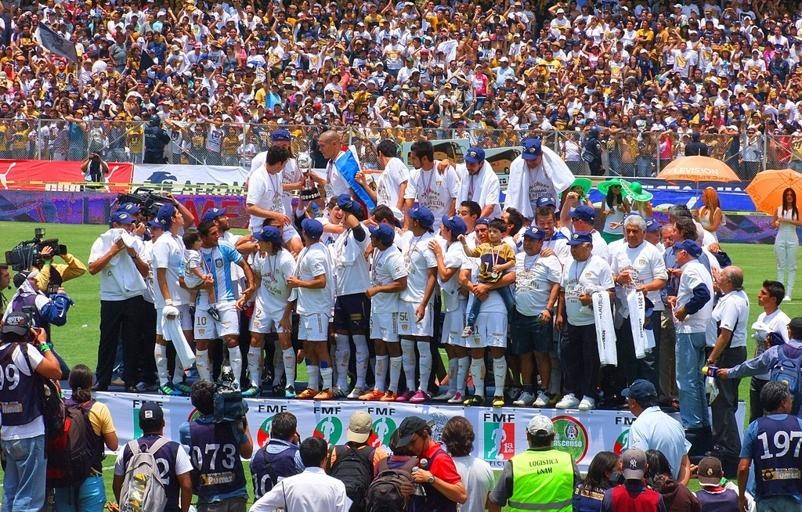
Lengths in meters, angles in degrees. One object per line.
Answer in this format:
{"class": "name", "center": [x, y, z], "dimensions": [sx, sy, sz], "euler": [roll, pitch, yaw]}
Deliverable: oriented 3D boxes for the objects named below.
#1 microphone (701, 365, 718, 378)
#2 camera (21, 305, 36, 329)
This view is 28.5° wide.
{"class": "microphone", "center": [6.833, 2.563, 35.154], "dimensions": [0.309, 0.199, 0.275], "euler": [7, 0, -26]}
{"class": "camera", "center": [-8.121, 1.308, 34.572], "dimensions": [0.319, 0.470, 0.189], "euler": [-9, 0, -13]}
